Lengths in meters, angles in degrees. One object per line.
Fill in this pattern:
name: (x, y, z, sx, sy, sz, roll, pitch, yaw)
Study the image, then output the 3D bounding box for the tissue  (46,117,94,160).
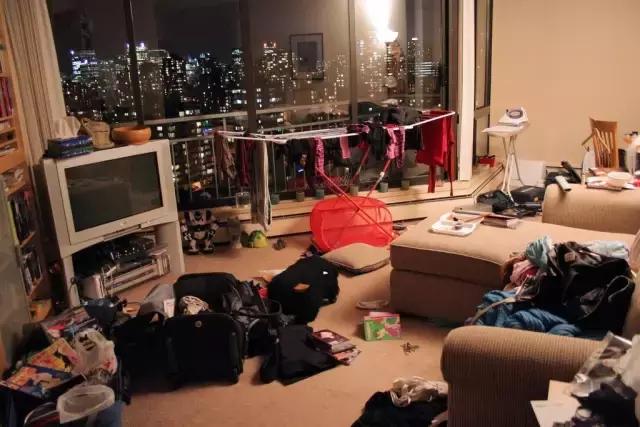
tissue : (-2.179, -0.647, 4.024, 0.212, 0.371, 0.397, 7, 14, 30)

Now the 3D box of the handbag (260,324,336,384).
handbag: (-0.192, 1.053, 3.496, 0.576, 0.203, 0.464, -9, 19, -17)

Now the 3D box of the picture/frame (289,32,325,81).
picture/frame: (-0.165, -1.907, 5.491, 0.551, 0.665, 0.024, -2, 6, -8)

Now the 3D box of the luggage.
luggage: (-0.920, 0.868, 3.691, 0.806, 0.555, 0.985, 3, 12, -10)

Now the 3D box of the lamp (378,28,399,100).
lamp: (0.879, -1.872, 5.742, 0.240, 0.807, 0.058, -8, 19, -13)

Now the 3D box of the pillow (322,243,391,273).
pillow: (0.401, 0.463, 4.717, 0.625, 0.183, 0.405, -12, 20, -27)

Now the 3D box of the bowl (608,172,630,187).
bowl: (2.640, -0.301, 4.066, 0.149, 0.068, 0.150, -2, 16, 1)

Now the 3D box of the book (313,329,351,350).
book: (0.089, 0.976, 3.506, 0.132, 0.036, 0.185, -7, 15, -33)

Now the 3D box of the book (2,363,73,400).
book: (-1.754, 1.040, 2.855, 0.225, 0.057, 0.237, 13, 15, 19)

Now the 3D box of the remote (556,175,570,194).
remote: (2.237, -0.262, 4.238, 0.087, 0.045, 0.157, -6, 35, 2)

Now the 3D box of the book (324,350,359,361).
book: (0.199, 1.074, 3.469, 0.118, 0.032, 0.120, -8, 11, -41)

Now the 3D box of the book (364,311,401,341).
book: (0.511, 0.915, 3.714, 0.306, 0.163, 0.204, -1, 18, 7)

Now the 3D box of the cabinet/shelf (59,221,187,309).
cabinet/shelf: (-1.897, 0.278, 4.622, 0.643, 0.595, 1.220, 17, 32, 40)

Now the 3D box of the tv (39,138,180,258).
tv: (-1.966, -0.151, 4.218, 0.502, 0.774, 0.996, 10, 21, 36)

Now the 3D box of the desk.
desk: (2.572, -0.792, 6.408, 0.534, 1.029, 1.827, 5, 20, 23)

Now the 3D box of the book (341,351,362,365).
book: (0.248, 1.089, 3.484, 0.077, 0.026, 0.127, 8, 21, 29)
